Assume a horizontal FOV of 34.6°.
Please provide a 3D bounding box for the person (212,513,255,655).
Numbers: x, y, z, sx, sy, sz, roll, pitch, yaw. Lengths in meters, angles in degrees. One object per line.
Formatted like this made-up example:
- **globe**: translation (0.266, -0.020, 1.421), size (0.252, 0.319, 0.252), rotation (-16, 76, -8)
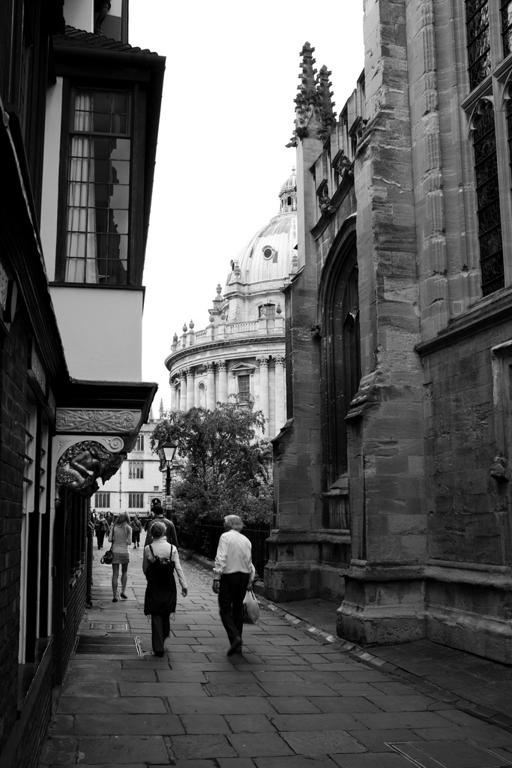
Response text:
- **person**: translation (-0.272, 2.276, 9.405), size (0.444, 1.535, 0.742), rotation (1, -7, 0)

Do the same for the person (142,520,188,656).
- **person**: translation (-1.052, 2.249, 9.269), size (0.421, 1.509, 0.435), rotation (-2, 13, -18)

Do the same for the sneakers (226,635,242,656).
- **sneakers**: translation (-0.247, 2.961, 9.165), size (0.088, 0.296, 0.119), rotation (9, 25, -24)
